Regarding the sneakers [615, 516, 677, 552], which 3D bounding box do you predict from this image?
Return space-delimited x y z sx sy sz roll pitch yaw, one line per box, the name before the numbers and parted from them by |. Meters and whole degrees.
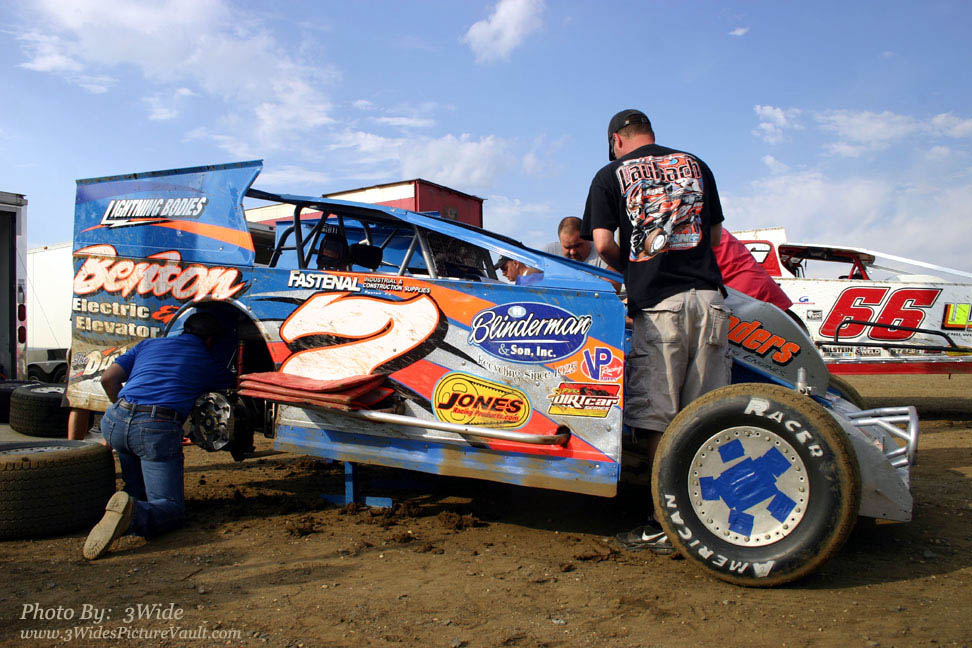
sneakers | 1.117 1.472 4.905 0.324 0.088 0.229 1 3 22
